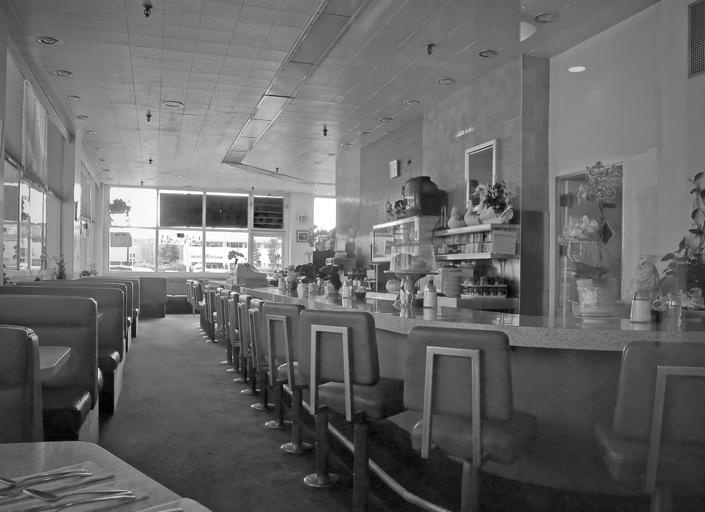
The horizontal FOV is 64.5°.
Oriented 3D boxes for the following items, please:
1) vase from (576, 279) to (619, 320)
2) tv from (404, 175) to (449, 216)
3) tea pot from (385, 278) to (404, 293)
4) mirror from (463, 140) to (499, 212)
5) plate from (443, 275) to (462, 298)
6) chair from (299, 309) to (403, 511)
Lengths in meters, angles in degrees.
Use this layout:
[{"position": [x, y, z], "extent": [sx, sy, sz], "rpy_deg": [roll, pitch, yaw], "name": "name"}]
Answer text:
[{"position": [1.621, 0.293, 3.682], "extent": [0.269, 0.290, 0.272], "rpy_deg": [10, -8, -30], "name": "vase"}, {"position": [1.043, -0.787, 7.814], "extent": [0.521, 0.565, 0.543], "rpy_deg": [2, -3, -21], "name": "tv"}, {"position": [0.358, 0.255, 4.927], "extent": [0.108, 0.076, 0.121], "rpy_deg": [1, 2, 42], "name": "tea pot"}, {"position": [1.587, -0.986, 6.832], "extent": [0.077, 1.069, 0.894], "rpy_deg": [4, -6, -16], "name": "mirror"}, {"position": [1.155, 0.358, 6.576], "extent": [0.223, 0.248, 0.228], "rpy_deg": [1, -1, -4], "name": "plate"}, {"position": [-0.012, 0.935, 3.408], "extent": [0.638, 1.227, 0.432], "rpy_deg": [0, -2, 3], "name": "chair"}]
